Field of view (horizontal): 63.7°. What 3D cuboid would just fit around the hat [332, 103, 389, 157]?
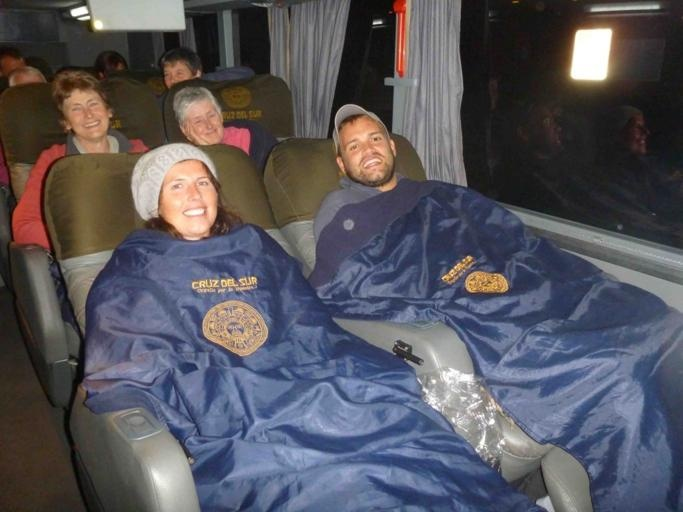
[{"bbox_3d":[0.074,-0.744,3.205,0.213,0.369,0.183,-16,43,-20],"label":"hat"}]
